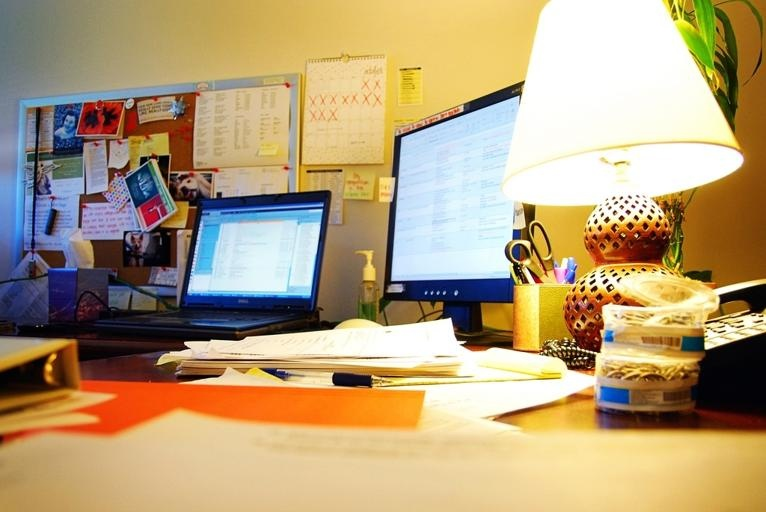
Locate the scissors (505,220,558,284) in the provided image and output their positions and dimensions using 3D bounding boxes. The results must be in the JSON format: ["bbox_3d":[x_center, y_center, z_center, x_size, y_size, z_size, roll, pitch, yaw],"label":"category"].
[{"bbox_3d":[0.321,-0.005,1.258,0.023,0.159,0.138,-13,1,45],"label":"scissors"}]

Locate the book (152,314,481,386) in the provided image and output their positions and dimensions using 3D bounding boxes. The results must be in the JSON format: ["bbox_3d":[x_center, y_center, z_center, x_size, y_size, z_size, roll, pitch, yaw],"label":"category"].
[{"bbox_3d":[-0.099,0.156,1.111,0.508,0.052,0.566,6,-1,4],"label":"book"}]

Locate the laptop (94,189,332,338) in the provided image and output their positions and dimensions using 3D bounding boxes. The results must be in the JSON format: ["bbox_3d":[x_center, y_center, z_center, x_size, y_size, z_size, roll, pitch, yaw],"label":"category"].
[{"bbox_3d":[-0.341,0.013,1.488,0.578,0.352,0.371,2,-2,30],"label":"laptop"}]
